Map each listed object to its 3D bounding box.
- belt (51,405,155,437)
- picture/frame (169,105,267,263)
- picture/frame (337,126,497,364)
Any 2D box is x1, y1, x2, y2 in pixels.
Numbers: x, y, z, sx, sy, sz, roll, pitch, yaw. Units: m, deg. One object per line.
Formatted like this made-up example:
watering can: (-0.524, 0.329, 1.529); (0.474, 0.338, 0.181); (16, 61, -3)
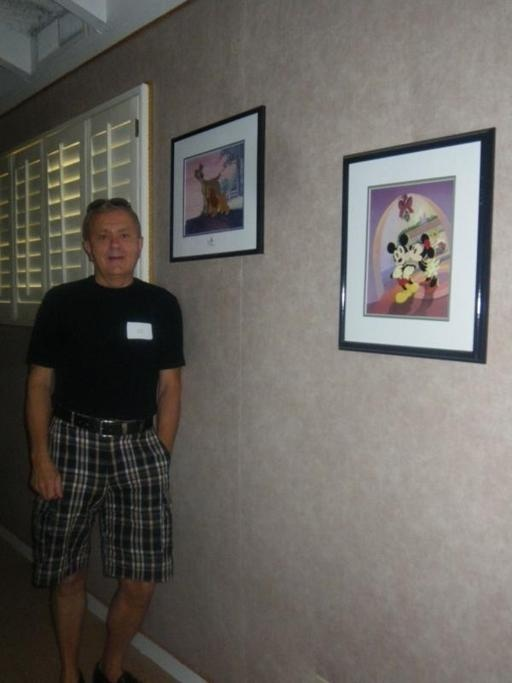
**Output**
belt: (-0.455, 0.233, 1.695); (0.288, 0.057, 0.104); (3, 7, -6)
picture/frame: (-0.101, -0.454, 1.660); (0.018, 0.492, 0.421); (1, -1, -41)
picture/frame: (0.351, -0.208, 1.224); (0.025, 0.666, 0.430); (-2, 2, -40)
